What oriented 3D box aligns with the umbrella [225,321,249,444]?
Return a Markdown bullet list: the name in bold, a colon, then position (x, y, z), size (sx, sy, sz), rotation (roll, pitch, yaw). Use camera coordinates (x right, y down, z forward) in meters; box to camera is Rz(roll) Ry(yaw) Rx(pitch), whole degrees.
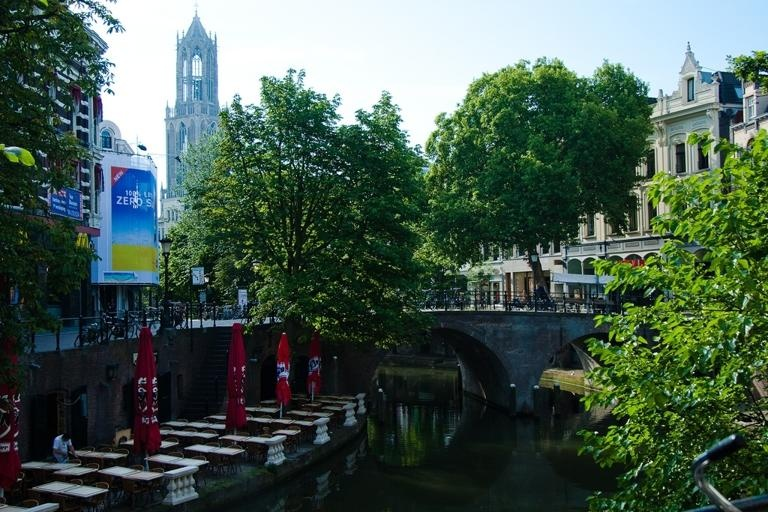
- **umbrella**: position (-5.376, 4.520, 37.497), size (1.045, 4.018, 0.909), rotation (-1, -5, 8)
